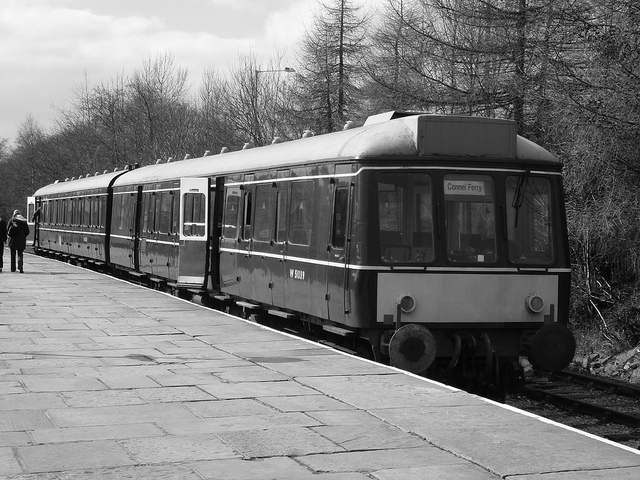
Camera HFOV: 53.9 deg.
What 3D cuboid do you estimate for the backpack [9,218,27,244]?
[{"bbox_3d":[-11.774,-0.346,24.545,0.596,0.974,0.315,4,-5,-13],"label":"backpack"}]
